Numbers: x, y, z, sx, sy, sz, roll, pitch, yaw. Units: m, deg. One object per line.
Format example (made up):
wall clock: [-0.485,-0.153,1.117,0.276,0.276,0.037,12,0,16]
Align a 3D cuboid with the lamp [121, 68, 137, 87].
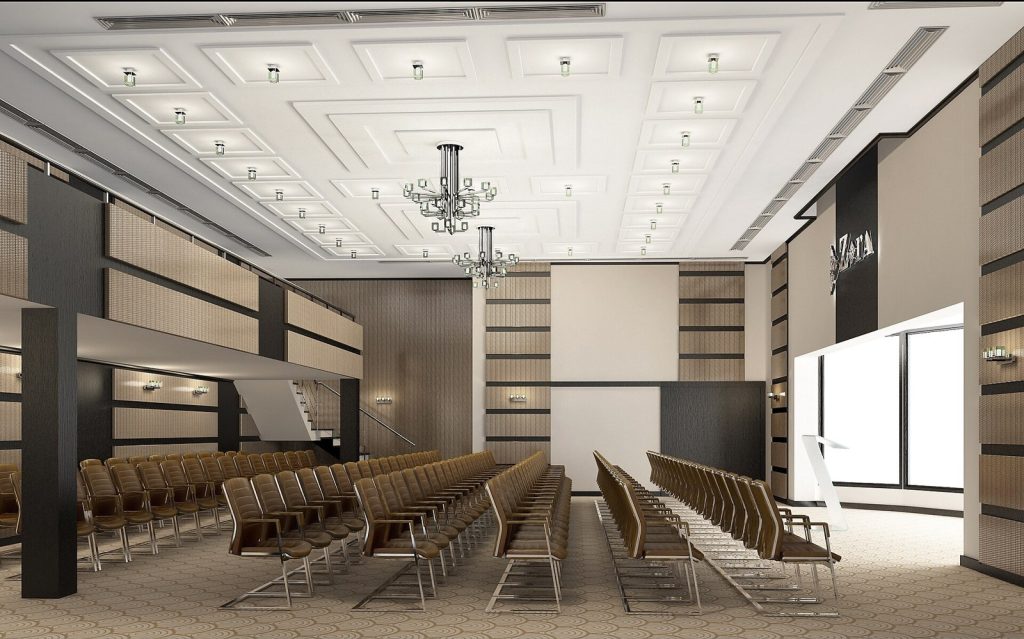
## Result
lamp: [-5.848,-3.674,9.405,0.229,0.217,0.202,-2,-11,-4]

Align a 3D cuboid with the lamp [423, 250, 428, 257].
lamp: [-2.566,-1.996,18.408,0.159,0.180,0.140,-1,-2,-5]

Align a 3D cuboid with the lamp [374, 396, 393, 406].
lamp: [-4.464,2.748,21.638,0.625,0.275,0.104,-1,-10,10]

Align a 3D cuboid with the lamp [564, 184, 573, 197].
lamp: [1.258,-2.865,13.633,0.164,0.147,0.148,-1,2,10]

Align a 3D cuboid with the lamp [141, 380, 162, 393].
lamp: [-9.351,1.646,15.985,0.444,0.180,0.517,1,-5,-13]

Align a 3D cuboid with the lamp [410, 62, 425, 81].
lamp: [-1.382,-3.709,9.278,0.224,0.206,0.210,0,4,25]

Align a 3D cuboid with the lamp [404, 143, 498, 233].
lamp: [-1.174,-2.389,12.195,2.043,1.503,1.807,0,-11,0]

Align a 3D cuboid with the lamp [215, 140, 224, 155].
lamp: [-5.505,-3.248,11.662,0.197,0.171,0.175,-1,-5,7]

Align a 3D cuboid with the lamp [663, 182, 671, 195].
lamp: [3.383,-2.873,13.481,0.180,0.201,0.159,0,-6,0]

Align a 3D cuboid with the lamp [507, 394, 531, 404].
lamp: [0.241,2.415,19.389,0.624,0.277,0.105,1,-9,-5]

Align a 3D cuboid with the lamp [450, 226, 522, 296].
lamp: [-0.669,-1.527,15.668,1.994,1.410,1.805,1,-2,-22]

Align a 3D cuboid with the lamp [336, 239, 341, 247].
lamp: [-4.871,-2.196,17.430,0.171,0.242,0.152,-2,0,3]

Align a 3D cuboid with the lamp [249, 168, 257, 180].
lamp: [-5.350,-3.020,12.787,0.171,0.153,0.166,3,5,34]

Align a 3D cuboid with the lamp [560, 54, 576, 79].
lamp: [0.838,-3.747,9.158,0.190,0.181,0.169,-1,-3,0]

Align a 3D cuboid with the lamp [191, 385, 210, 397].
lamp: [-9.098,2.004,17.967,0.500,0.281,0.510,0,-2,7]

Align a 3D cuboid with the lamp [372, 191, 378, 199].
lamp: [-3.014,-2.774,13.646,0.143,0.112,0.178,0,-2,-3]

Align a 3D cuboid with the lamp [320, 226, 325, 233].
lamp: [-5.000,-2.390,16.259,0.149,0.160,0.133,-1,-1,-2]

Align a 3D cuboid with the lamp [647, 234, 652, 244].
lamp: [3.795,-2.255,17.070,0.136,0.027,0.745,-2,-9,12]
